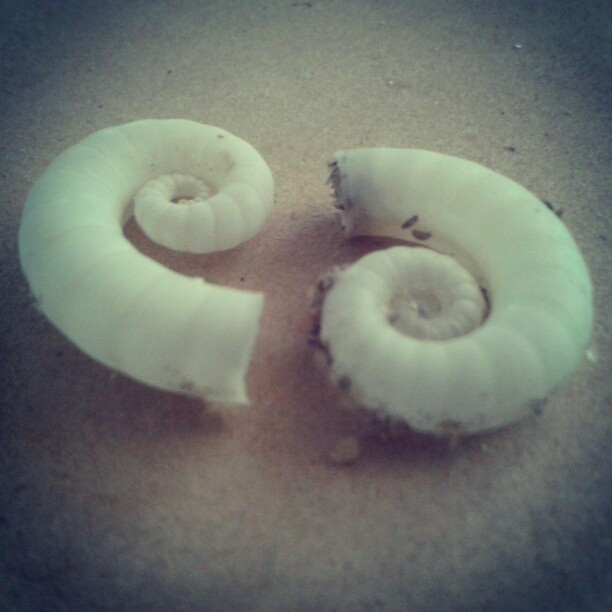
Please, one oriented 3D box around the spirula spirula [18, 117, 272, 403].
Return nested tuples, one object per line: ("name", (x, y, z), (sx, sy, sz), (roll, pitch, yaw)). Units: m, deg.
("spirula spirula", (-0.337, -0.150, 1.681), (0.560, 0.264, 0.649), (8, 79, 4))
